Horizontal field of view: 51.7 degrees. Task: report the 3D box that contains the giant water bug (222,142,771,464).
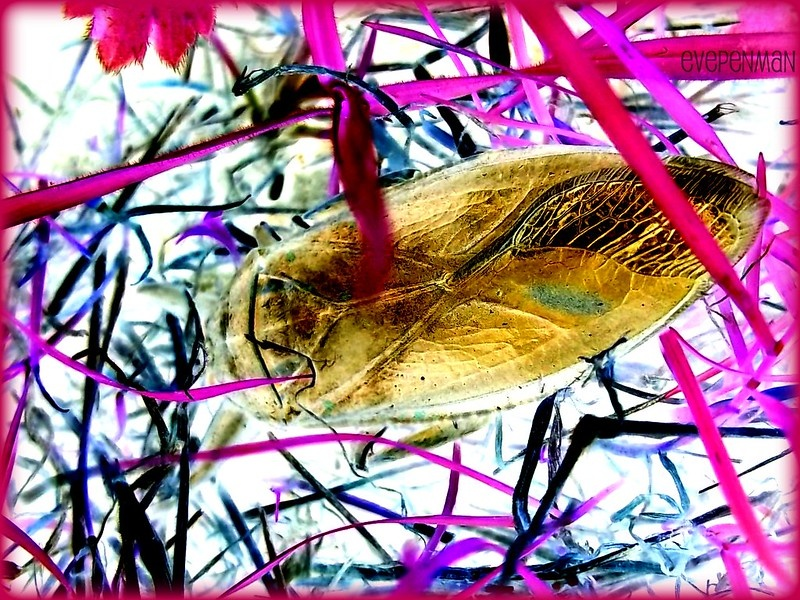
[{"bbox_3d":[0.090,-0.013,0.854,0.509,0.252,0.132,-19,6,17],"label":"giant water bug"}]
